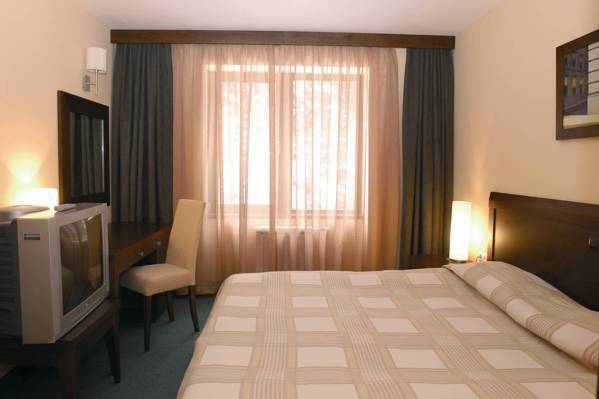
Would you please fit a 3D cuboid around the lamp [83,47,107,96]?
[{"bbox_3d":[-2.203,-1.355,4.827,0.251,0.466,0.431,-6,10,-25],"label":"lamp"}]
